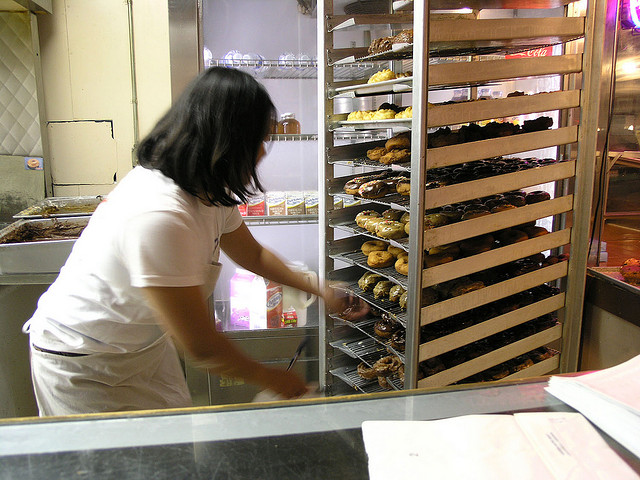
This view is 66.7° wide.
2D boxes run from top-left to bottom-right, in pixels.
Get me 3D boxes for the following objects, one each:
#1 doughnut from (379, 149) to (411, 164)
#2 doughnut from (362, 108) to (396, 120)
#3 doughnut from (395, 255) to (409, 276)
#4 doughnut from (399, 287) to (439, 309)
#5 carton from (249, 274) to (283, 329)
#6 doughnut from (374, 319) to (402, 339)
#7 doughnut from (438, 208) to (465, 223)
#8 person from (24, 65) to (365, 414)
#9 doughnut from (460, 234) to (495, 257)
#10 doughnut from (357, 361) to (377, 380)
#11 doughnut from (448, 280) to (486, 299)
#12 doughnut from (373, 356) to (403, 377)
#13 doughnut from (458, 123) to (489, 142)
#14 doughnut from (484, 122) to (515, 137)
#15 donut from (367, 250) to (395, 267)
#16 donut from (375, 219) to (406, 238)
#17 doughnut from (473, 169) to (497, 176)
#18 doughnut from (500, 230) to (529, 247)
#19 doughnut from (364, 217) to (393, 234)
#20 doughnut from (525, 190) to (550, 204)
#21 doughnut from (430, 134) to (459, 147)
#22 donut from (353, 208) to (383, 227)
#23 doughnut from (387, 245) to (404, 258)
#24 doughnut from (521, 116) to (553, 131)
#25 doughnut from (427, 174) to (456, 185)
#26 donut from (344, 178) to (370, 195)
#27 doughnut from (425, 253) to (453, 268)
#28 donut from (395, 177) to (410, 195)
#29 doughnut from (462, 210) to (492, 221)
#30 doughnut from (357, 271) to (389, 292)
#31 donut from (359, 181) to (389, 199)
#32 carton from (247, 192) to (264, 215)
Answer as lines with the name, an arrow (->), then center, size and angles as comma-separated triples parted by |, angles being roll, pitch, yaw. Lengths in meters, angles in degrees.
doughnut -> 0.345, -0.384, 2.255 | 0.160, 0.063, 0.088 | 3, 14, 21
doughnut -> 0.282, -0.588, 2.312 | 0.113, 0.031, 0.120 | 0, 11, 19
doughnut -> 0.377, 0.120, 2.246 | 0.058, 0.071, 0.091 | -2, 13, 4
doughnut -> 0.437, 0.246, 2.121 | 0.157, 0.036, 0.093 | -9, 3, -31
carton -> -0.342, 0.402, 3.232 | 0.277, 0.402, 0.248 | 5, 11, -14
doughnut -> 0.333, 0.435, 2.382 | 0.117, 0.033, 0.103 | -1, 13, -7
doughnut -> 0.595, -0.109, 2.165 | 0.079, 0.025, 0.080 | 1, 8, 41
person -> -0.497, 0.082, 1.680 | 0.999, 1.254, 0.629 | -1, 14, 10
doughnut -> 0.727, 0.021, 2.250 | 0.102, 0.082, 0.178 | 7, 15, 36
doughnut -> 0.240, 0.667, 2.491 | 0.092, 0.024, 0.072 | -1, 16, -9
doughnut -> 0.640, 0.209, 2.149 | 0.107, 0.026, 0.098 | 0, 20, 4
doughnut -> 0.327, 0.604, 2.348 | 0.132, 0.043, 0.094 | -22, 16, 24
doughnut -> 0.681, -0.492, 2.248 | 0.160, 0.081, 0.101 | -7, 14, -21
doughnut -> 0.826, -0.507, 2.247 | 0.136, 0.066, 0.094 | 0, 13, 10
donut -> 0.295, 0.091, 2.346 | 0.106, 0.068, 0.102 | -11, 15, -34
donut -> 0.321, -0.051, 2.265 | 0.104, 0.064, 0.143 | -9, 14, -28
doughnut -> 0.763, -0.311, 2.249 | 0.047, 0.015, 0.069 | -8, 6, -25
doughnut -> 0.926, -0.008, 2.320 | 0.099, 0.030, 0.093 | -19, 14, -28
doughnut -> 0.270, -0.079, 2.365 | 0.102, 0.030, 0.092 | 3, 18, 12
doughnut -> 1.054, -0.208, 2.383 | 0.085, 0.026, 0.084 | -2, 9, 35
doughnut -> 0.557, -0.444, 2.179 | 0.139, 0.049, 0.052 | -9, 14, -28
donut -> 0.237, -0.120, 2.494 | 0.110, 0.044, 0.123 | -4, 9, 3
doughnut -> 0.360, 0.050, 2.332 | 0.070, 0.052, 0.060 | -11, 27, -14
doughnut -> 1.023, -0.548, 2.309 | 0.129, 0.025, 0.063 | -10, 18, -24
doughnut -> 0.561, -0.270, 2.207 | 0.113, 0.037, 0.069 | -10, 14, -32
donut -> 0.182, -0.264, 2.424 | 0.111, 0.034, 0.083 | 1, 16, 43
doughnut -> 0.509, 0.082, 2.088 | 0.125, 0.033, 0.053 | -10, 16, -30
donut -> 0.395, -0.254, 2.333 | 0.069, 0.081, 0.228 | -1, 12, 8
doughnut -> 0.695, -0.114, 2.162 | 0.150, 0.034, 0.047 | -8, 14, -26
doughnut -> 0.261, 0.210, 2.445 | 0.086, 0.058, 0.148 | 8, -5, -36
donut -> 0.258, -0.240, 2.333 | 0.110, 0.049, 0.100 | 0, 19, 8
carton -> -0.414, -0.215, 3.124 | 0.112, 0.130, 0.208 | -2, 12, 2
